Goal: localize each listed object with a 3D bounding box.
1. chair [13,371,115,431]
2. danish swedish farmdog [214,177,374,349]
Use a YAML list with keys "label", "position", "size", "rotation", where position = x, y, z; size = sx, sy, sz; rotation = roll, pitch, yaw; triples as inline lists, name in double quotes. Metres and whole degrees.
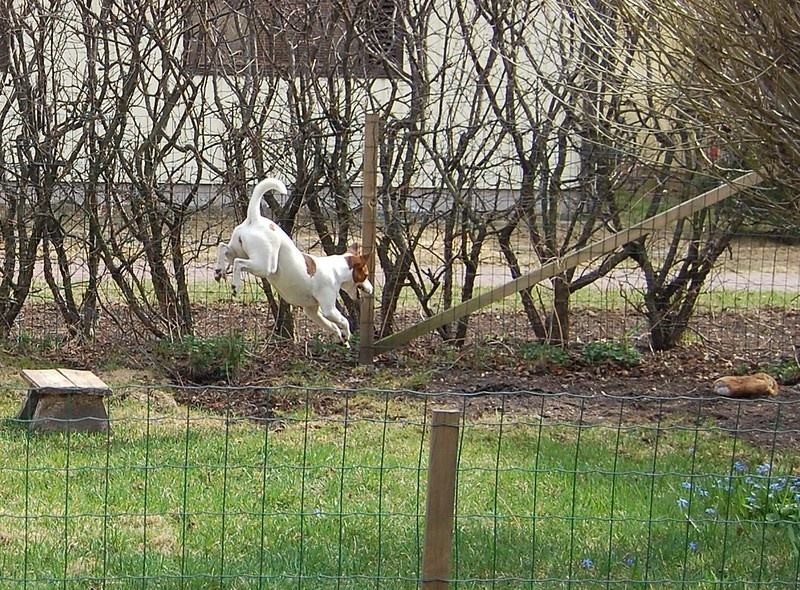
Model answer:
- label: "chair"
  position: [-3.017, 0.963, 11.432]
  size: [0.715, 0.502, 1.050]
  rotation: [-3, 5, -27]
- label: "danish swedish farmdog"
  position: [-0.830, -0.283, 11.132]
  size: [1.624, 1.003, 0.506]
  rotation: [25, -6, -40]
